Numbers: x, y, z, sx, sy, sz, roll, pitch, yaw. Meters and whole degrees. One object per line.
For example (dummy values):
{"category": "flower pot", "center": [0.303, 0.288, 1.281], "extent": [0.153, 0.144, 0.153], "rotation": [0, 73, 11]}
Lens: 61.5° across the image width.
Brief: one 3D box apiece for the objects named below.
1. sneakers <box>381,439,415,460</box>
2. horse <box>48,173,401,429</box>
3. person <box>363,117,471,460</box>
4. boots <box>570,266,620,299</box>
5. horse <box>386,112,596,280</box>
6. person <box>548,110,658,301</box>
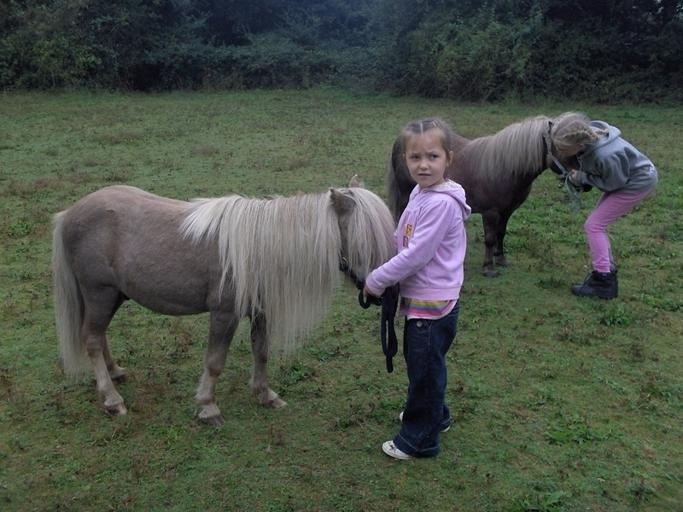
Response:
{"category": "sneakers", "center": [0.431, 1.535, 4.493], "extent": [0.212, 0.097, 0.116], "rotation": [21, 14, 5]}
{"category": "horse", "center": [-1.019, 0.371, 5.003], "extent": [2.790, 2.178, 0.966], "rotation": [3, 16, -3]}
{"category": "person", "center": [0.583, 0.293, 4.331], "extent": [0.610, 2.549, 0.606], "rotation": [7, 20, 18]}
{"category": "boots", "center": [2.773, 0.295, 6.243], "extent": [0.425, 0.287, 0.275], "rotation": [6, 10, 23]}
{"category": "horse", "center": [1.742, -0.799, 7.223], "extent": [0.804, 2.130, 2.670], "rotation": [-31, 37, -34]}
{"category": "person", "center": [2.727, -0.514, 6.155], "extent": [1.069, 1.899, 0.576], "rotation": [8, 20, 21]}
